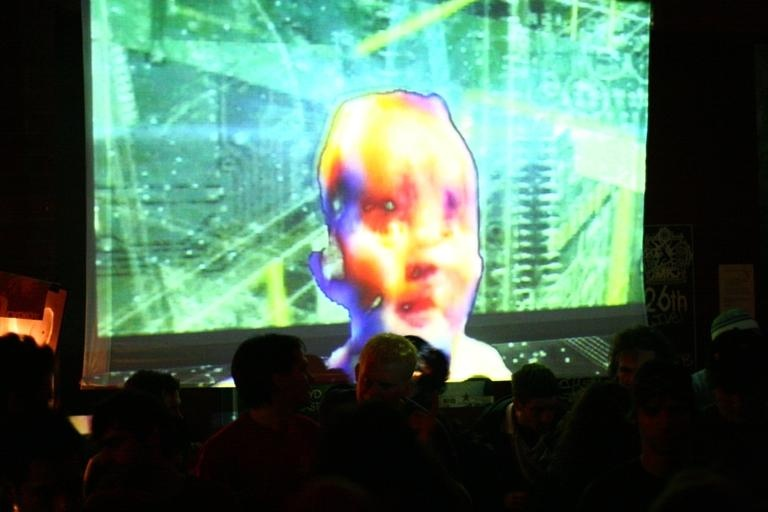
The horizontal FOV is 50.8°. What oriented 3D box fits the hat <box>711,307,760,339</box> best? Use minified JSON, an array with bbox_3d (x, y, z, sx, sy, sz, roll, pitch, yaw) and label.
[{"bbox_3d":[2.099,0.403,4.876,0.308,0.116,0.215,-11,-12,15],"label":"hat"}]
